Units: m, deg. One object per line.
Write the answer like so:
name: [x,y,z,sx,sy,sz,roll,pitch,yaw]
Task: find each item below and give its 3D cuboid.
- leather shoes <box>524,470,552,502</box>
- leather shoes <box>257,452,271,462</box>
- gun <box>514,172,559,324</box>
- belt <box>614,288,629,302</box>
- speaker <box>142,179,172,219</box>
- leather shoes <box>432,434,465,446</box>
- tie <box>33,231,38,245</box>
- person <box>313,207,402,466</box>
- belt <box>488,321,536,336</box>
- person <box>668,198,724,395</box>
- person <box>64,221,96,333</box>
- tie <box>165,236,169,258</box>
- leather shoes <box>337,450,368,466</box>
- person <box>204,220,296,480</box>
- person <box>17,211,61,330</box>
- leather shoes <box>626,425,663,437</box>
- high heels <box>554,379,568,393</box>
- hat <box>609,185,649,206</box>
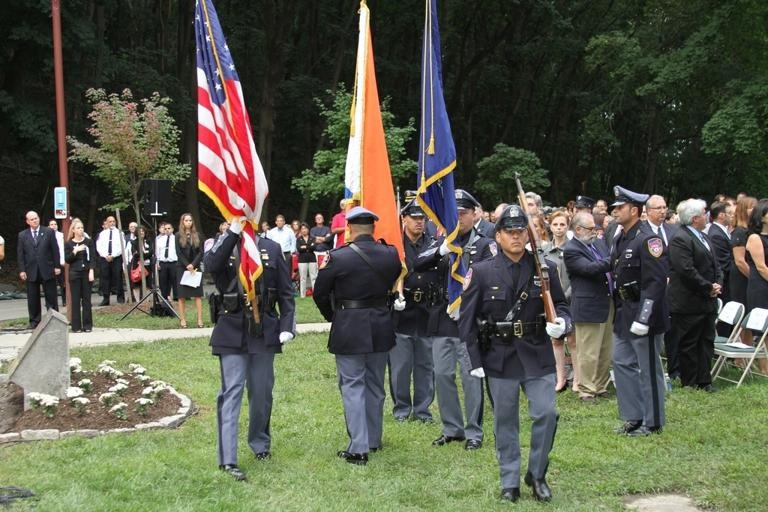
leather shoes: [2.553,3.829,14.845,0.222,0.291,0.663,-13,32,-21]
leather shoes: [-2.120,3.541,15.837,0.269,0.119,0.101,3,-5,10]
gun: [2.507,-0.138,14.892,0.753,2.473,0.437,2,4,10]
belt: [4.465,0.732,16.899,0.199,0.207,0.086,-11,7,46]
speaker: [-6.251,-1.595,24.805,0.636,1.057,0.992,0,4,-21]
leather shoes: [1.153,3.373,16.499,0.610,0.271,0.209,5,-7,-13]
tie: [-8.939,-0.482,23.065,0.126,0.302,0.160,0,4,-22]
person: [-0.447,1.394,16.024,1.423,4.493,0.826,1,4,0]
belt: [2.178,1.225,14.884,0.726,0.266,0.132,2,4,7]
person: [6.318,0.765,18.413,1.026,3.835,0.776,2,4,17]
person: [-7.767,0.480,22.994,0.694,2.818,1.120,0,4,-19]
tie: [-5.902,-0.244,24.494,0.195,0.576,0.035,3,4,26]
leather shoes: [-0.565,3.533,15.903,0.548,0.248,0.208,10,3,26]
person: [-2.359,1.516,15.609,1.481,4.290,0.813,0,4,-12]
person: [-8.865,0.382,23.159,1.012,3.000,1.135,0,4,-22]
leather shoes: [4.779,3.220,16.549,0.630,0.274,0.239,3,-9,-9]
high heels: [3.653,2.731,18.528,0.145,0.218,0.484,-7,-9,37]
hat: [4.676,-1.112,17.062,0.535,0.249,0.435,3,1,-1]
